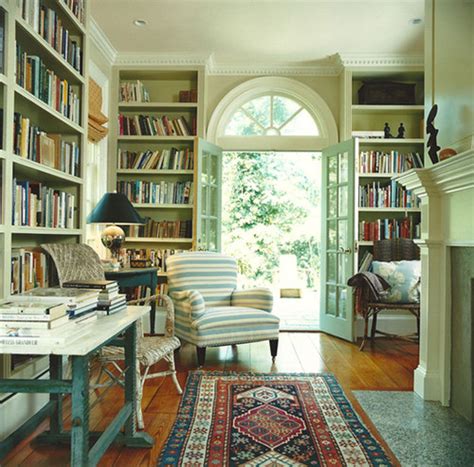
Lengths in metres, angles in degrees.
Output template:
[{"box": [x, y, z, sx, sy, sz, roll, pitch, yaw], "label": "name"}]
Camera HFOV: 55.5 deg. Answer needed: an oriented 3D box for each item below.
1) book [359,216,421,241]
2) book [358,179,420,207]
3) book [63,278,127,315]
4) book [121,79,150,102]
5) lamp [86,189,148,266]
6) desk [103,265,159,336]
[{"box": [1.700, -0.060, 4.998, 0.645, 0.273, 0.388, 1, 0, 17], "label": "book"}, {"box": [1.665, -0.417, 4.951, 0.424, 0.143, 0.402, 1, -2, -14], "label": "book"}, {"box": [-0.653, 0.290, 2.205, 0.204, 0.078, 0.184, 2, 3, 7], "label": "book"}, {"box": [-1.169, -1.611, 5.126, 0.309, 0.345, 0.385, -1, 22, -1], "label": "book"}, {"box": [-1.101, -0.075, 4.005, 0.553, 0.537, 0.555, 4, -4, -44], "label": "lamp"}, {"box": [-0.768, 0.577, 4.053, 0.675, 0.594, 0.625, 1, 3, 0], "label": "desk"}]
